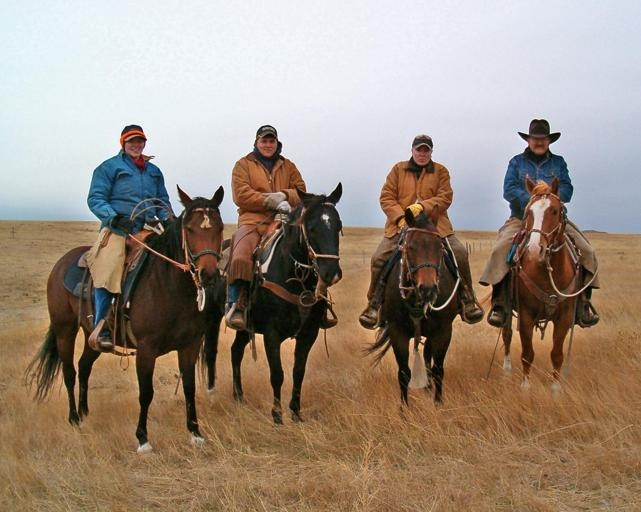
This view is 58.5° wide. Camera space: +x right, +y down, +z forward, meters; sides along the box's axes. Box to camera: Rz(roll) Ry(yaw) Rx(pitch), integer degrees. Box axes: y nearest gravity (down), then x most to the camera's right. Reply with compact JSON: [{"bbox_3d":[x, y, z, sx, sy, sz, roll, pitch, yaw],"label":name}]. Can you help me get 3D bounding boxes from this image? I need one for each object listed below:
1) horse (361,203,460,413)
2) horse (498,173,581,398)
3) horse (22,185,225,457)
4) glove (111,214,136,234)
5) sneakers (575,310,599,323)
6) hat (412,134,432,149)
[{"bbox_3d":[1.627,0.799,9.524,1.257,3.205,2.314,1,6,7],"label":"horse"},{"bbox_3d":[3.753,0.494,9.775,1.202,3.641,2.238,2,6,21],"label":"horse"},{"bbox_3d":[-3.009,0.886,9.054,3.813,3.920,0.987,5,7,33],"label":"horse"},{"bbox_3d":[-3.130,-0.505,9.147,0.310,0.299,0.139,12,13,15],"label":"glove"},{"bbox_3d":[4.732,1.091,10.216,0.166,0.306,0.529,4,-8,-16],"label":"sneakers"},{"bbox_3d":[1.860,-2.069,10.405,0.318,0.224,0.349,1,7,6],"label":"hat"}]
